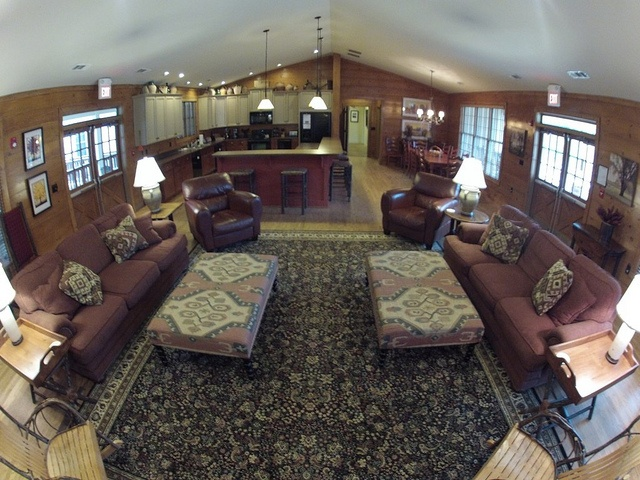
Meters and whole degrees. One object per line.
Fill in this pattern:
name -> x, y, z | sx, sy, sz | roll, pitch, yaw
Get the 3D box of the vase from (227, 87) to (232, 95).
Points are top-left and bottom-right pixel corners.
vase -> -2.606, -4.366, 12.206 | 0.145, 0.147, 0.291 | -5, 24, -7

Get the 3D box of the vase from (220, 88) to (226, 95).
vase -> -2.786, -4.310, 12.077 | 0.180, 0.189, 0.269 | -8, 24, -12

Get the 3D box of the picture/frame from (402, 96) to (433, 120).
picture/frame -> 2.933, -4.010, 12.475 | 0.906, 0.693, 0.098 | 1, 17, 3

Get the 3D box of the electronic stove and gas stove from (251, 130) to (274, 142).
electronic stove and gas stove -> -1.746, -3.167, 12.608 | 0.655, 0.326, 0.529 | -6, 24, -7

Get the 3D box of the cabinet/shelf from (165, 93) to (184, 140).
cabinet/shelf -> -3.252, -2.792, 9.328 | 0.354, 0.989, 1.033 | 2, 18, 1

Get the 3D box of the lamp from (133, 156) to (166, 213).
lamp -> -2.627, -0.860, 6.519 | 0.489, 0.844, 0.479 | -11, 10, -13

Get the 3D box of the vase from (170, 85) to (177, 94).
vase -> -3.202, -3.299, 9.137 | 0.133, 0.173, 0.211 | -11, 25, -20

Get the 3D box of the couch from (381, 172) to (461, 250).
couch -> 1.714, -0.551, 7.042 | 1.022, 1.015, 1.279 | -10, 25, -26

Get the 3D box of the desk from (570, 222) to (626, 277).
desk -> 3.609, 0.124, 5.372 | 0.235, 0.517, 0.548 | 1, 29, -6

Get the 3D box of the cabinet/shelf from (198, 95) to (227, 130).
cabinet/shelf -> -3.009, -3.627, 11.685 | 0.456, 0.743, 0.875 | 6, 21, 14

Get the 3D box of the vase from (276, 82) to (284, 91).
vase -> -1.160, -4.528, 12.255 | 0.217, 0.216, 0.230 | -2, 40, -5

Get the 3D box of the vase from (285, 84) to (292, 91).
vase -> -0.885, -4.484, 12.237 | 0.169, 0.161, 0.171 | -16, 26, -31

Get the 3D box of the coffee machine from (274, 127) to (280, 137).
coffee machine -> -1.293, -3.311, 12.709 | 0.235, 0.234, 0.219 | -4, 23, -3

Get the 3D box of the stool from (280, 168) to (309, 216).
stool -> -0.497, -0.971, 8.219 | 0.559, 0.839, 0.446 | -3, 23, -1

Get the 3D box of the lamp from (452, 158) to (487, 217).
lamp -> 2.274, -0.791, 6.317 | 0.496, 0.837, 0.493 | -2, 14, -31

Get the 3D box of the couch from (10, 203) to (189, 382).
couch -> -2.489, 0.418, 5.035 | 0.916, 0.972, 2.252 | 8, 30, 6

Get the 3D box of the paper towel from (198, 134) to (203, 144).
paper towel -> -3.189, -2.734, 11.259 | 0.162, 0.212, 0.486 | -9, 25, -15

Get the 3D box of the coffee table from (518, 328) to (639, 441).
coffee table -> 2.313, 1.317, 3.780 | 0.708, 0.848, 0.473 | -19, 43, -10

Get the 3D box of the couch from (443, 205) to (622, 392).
couch -> 2.348, 0.432, 5.014 | 0.960, 0.989, 2.371 | -7, 28, -3

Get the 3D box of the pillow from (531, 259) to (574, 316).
pillow -> 2.483, 0.485, 4.408 | 0.432, 0.132, 0.483 | -24, 39, 39

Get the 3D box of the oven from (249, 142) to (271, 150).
oven -> -1.797, -2.864, 12.444 | 0.686, 0.257, 0.210 | -4, 23, -4

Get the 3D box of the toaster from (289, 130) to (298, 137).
toaster -> -0.806, -3.253, 12.681 | 0.290, 0.188, 0.153 | -3, 23, -1

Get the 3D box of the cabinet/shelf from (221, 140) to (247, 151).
cabinet/shelf -> -2.517, -2.870, 12.474 | 0.737, 0.318, 0.190 | 0, 23, 5

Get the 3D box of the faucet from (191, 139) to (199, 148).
faucet -> -3.299, -2.613, 11.114 | 0.197, 0.087, 0.842 | -8, 25, -13

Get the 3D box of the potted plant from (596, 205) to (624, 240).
potted plant -> 3.869, -0.231, 5.644 | 0.323, 0.432, 0.368 | -9, 15, -43

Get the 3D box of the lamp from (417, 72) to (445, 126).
lamp -> 3.278, -4.236, 12.267 | 0.775, 1.597, 0.807 | 2, 10, -3

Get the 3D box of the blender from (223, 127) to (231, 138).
blender -> -2.743, -3.257, 12.628 | 0.218, 0.273, 0.500 | -6, 24, -8

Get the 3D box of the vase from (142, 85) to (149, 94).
vase -> -3.425, -2.989, 8.239 | 0.073, 0.136, 0.138 | -17, 36, -35

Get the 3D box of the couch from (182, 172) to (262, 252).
couch -> -1.624, -0.504, 6.858 | 1.221, 1.031, 1.269 | -6, 20, -8

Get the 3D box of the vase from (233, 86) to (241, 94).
vase -> -2.374, -4.377, 12.136 | 0.210, 0.235, 0.219 | -3, 2, 8

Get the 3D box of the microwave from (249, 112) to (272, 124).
microwave -> -1.731, -3.659, 12.376 | 0.705, 0.358, 0.192 | -6, 23, -8

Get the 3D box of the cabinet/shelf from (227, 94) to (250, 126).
cabinet/shelf -> -2.399, -3.876, 12.233 | 0.689, 0.949, 0.479 | -3, 29, -10

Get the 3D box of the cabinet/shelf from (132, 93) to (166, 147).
cabinet/shelf -> -3.450, -2.468, 8.408 | 0.281, 0.935, 0.920 | 5, 20, 1
